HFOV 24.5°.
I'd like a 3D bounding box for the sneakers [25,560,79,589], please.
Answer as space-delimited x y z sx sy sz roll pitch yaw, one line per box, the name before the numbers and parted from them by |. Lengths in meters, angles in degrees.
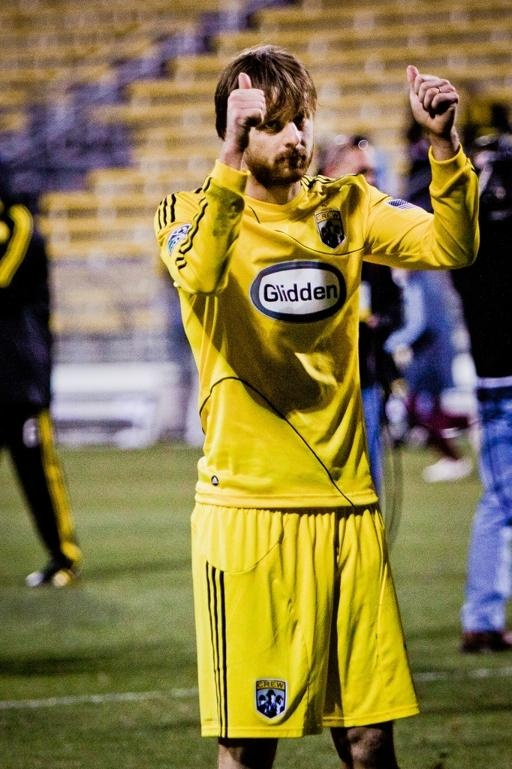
sneakers | -0.697 0.658 4.087 0.208 0.065 0.083 -3 45 -1
